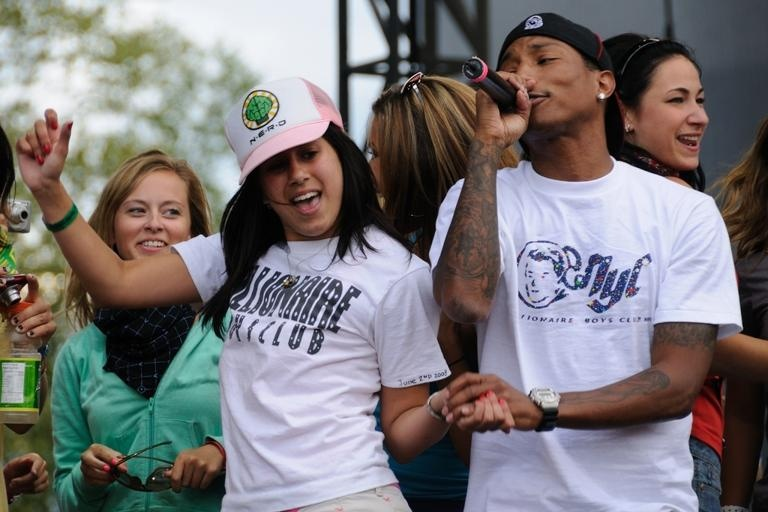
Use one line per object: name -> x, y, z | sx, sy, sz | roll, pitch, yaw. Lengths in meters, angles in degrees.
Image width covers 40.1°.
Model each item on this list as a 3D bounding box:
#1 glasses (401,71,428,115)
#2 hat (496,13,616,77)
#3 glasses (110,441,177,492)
glasses -> 0.149, -0.763, 4.891 | 0.053, 0.175, 0.168 | -4, 9, 15
hat -> 0.715, -0.896, 4.259 | 0.318, 0.173, 0.261 | 31, 16, 33
glasses -> -1.068, 0.970, 4.730 | 0.222, 0.081, 0.270 | -6, 31, 34
